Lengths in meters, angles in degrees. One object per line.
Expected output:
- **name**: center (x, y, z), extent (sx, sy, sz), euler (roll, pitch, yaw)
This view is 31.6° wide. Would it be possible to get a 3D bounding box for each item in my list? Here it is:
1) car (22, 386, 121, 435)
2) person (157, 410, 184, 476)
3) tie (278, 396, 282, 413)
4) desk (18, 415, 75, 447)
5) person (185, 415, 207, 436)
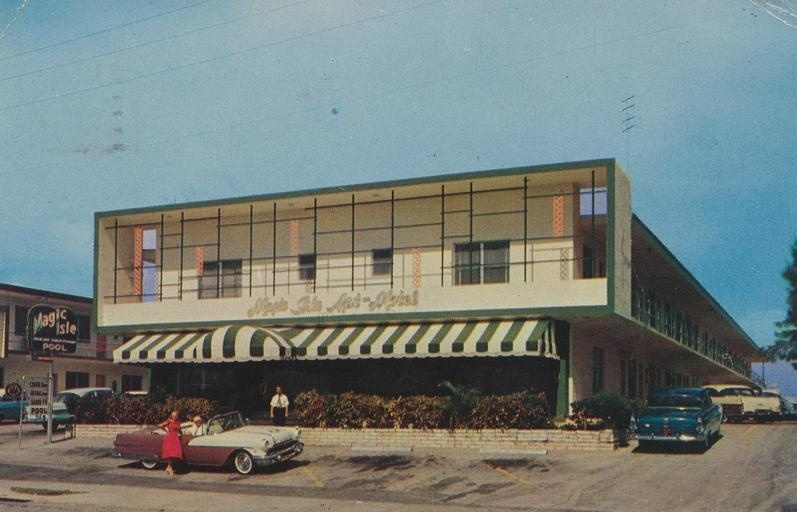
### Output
- **car**: center (-18.216, 8.090, 76.186), extent (2.371, 1.766, 5.468), euler (-2, -8, 15)
- **person**: center (-10.751, 8.791, 66.294), extent (1.001, 2.987, 0.922), euler (0, -10, -11)
- **tie**: center (-6.238, 7.636, 73.108), extent (0.169, 0.639, 0.111), euler (0, -10, -10)
- **desk**: center (-18.939, 9.400, 76.754), extent (1.895, 1.140, 3.334), euler (-2, -6, 11)
- **person**: center (-9.667, 8.023, 66.467), extent (0.715, 0.549, 0.991), euler (5, -2, -24)
